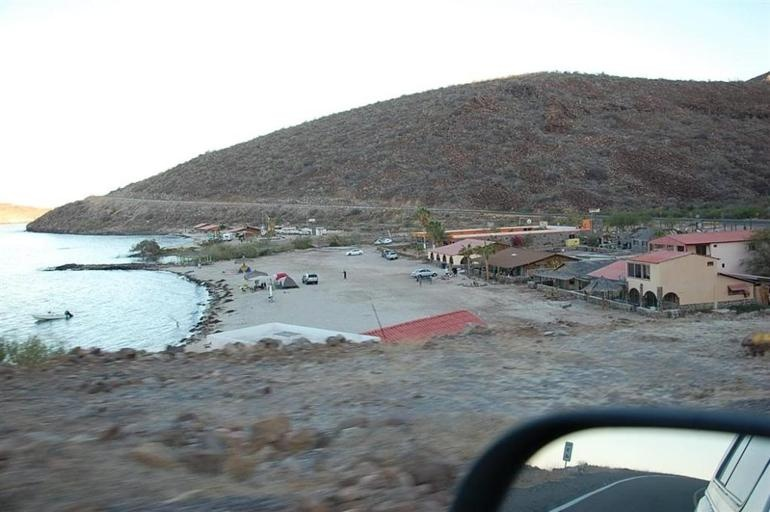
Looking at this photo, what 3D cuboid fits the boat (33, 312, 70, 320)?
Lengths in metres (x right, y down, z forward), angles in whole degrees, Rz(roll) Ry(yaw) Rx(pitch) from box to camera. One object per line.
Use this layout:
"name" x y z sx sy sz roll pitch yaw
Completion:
"boat" -20.303 3.654 31.484 1.206 0.473 1.539 -5 -3 38
